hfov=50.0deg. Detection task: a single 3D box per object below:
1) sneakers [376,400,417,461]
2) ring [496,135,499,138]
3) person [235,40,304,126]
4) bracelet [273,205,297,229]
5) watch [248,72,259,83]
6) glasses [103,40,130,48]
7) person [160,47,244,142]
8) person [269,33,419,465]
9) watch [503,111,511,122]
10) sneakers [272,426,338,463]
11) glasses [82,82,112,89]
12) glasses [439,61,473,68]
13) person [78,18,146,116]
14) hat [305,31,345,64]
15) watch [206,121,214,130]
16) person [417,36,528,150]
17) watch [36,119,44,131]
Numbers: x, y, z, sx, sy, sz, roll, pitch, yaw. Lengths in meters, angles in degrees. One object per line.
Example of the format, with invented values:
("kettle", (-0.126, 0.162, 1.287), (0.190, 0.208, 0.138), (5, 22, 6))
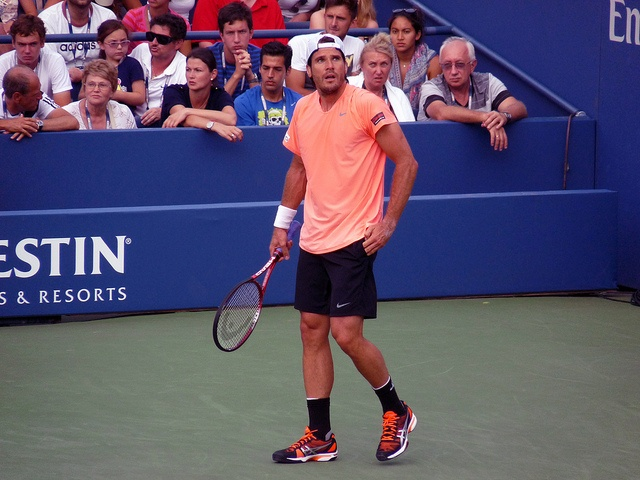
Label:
("sneakers", (0.412, 1.002, 3.643), (0.116, 0.167, 0.356), (-8, 33, 33))
("ring", (1.622, -0.954, 6.258), (0.018, 0.016, 0.020), (1, -1, 0))
("person", (-0.424, -1.446, 6.461), (0.809, 0.838, 0.346), (-3, 16, -13))
("bracelet", (-0.205, -0.131, 4.057), (0.123, 0.144, 0.121), (20, 0, -9))
("watch", (-0.676, -1.633, 6.856), (0.043, 0.120, 0.082), (-47, 21, -30))
("glasses", (-2.031, -1.968, 6.837), (0.235, 0.089, 0.106), (-5, 8, -26))
("person", (-1.067, -1.289, 6.098), (0.686, 0.835, 0.654), (-3, 7, -14))
("person", (0.085, 0.030, 3.658), (0.826, 2.220, 0.626), (1, 7, 20))
("watch", (1.719, -1.135, 6.284), (0.066, 0.075, 0.054), (9, -20, -2))
("sneakers", (-0.082, 1.097, 3.696), (0.381, 0.226, 0.141), (1, -5, -9))
("glasses", (-1.952, -1.374, 6.075), (0.222, 0.070, 0.099), (-6, 8, -27))
("glasses", (1.252, -1.615, 6.305), (0.262, 0.070, 0.086), (0, 7, 9))
("person", (-2.087, -1.370, 6.940), (0.577, 1.609, 0.493), (3, 19, -11))
("hat", (0.042, -1.029, 3.654), (0.122, 0.194, 0.181), (2, 10, -3))
("watch", (-0.940, -0.993, 5.910), (0.070, 0.072, 0.047), (-15, 31, -33))
("person", (1.441, -1.428, 6.697), (0.921, 1.343, 1.042), (-1, 5, 0))
("watch", (-2.348, -0.971, 5.771), (0.060, 0.089, 0.022), (-8, 10, -43))
